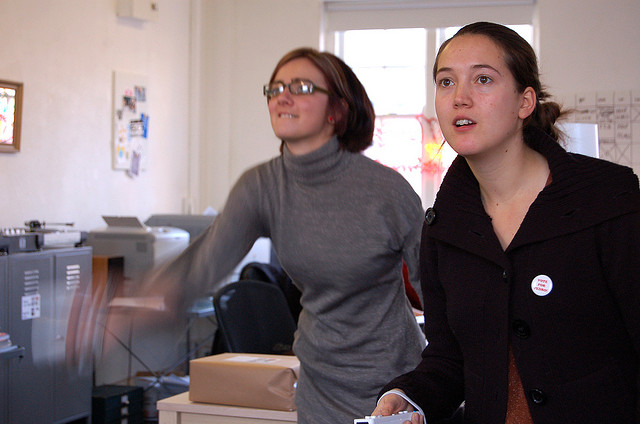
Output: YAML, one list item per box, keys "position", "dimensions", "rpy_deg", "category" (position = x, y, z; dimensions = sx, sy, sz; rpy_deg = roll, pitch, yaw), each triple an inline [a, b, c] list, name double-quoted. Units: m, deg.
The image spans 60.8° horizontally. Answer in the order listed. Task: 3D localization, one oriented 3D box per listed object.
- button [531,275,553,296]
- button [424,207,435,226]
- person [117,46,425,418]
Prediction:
- position: [0.495, 0.166, 1.219]
  dimensions: [0.040, 0.041, 0.009]
  rpy_deg: [-22, -15, 26]
  category: "button"
- position: [0.278, 0.014, 1.391]
  dimensions: [0.017, 0.045, 0.037]
  rpy_deg: [-2, 1, -6]
  category: "button"
- position: [-0.222, 0.063, 2.239]
  dimensions: [0.983, 1.567, 1.134]
  rpy_deg: [-6, -1, 43]
  category: "person"
